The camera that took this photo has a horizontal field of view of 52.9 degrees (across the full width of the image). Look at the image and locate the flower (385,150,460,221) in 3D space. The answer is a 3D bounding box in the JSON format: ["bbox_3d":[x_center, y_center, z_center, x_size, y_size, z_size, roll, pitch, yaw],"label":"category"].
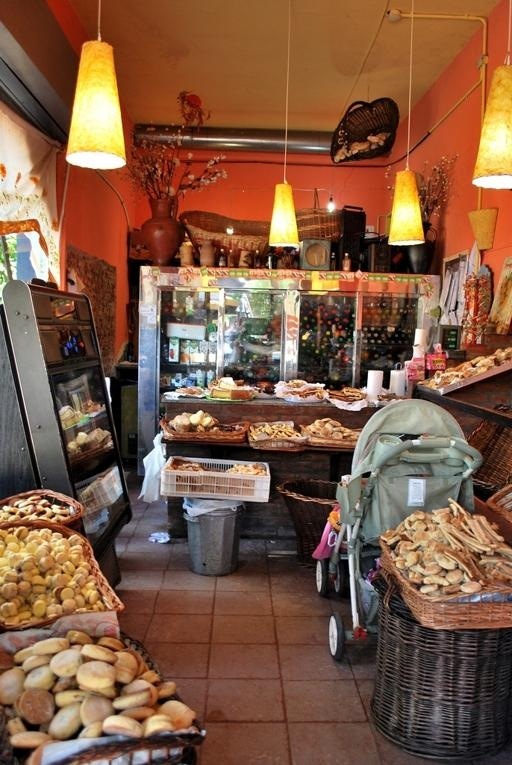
[{"bbox_3d":[1.831,-2.166,5.896,0.713,0.908,0.769,-5,13,-2],"label":"flower"}]

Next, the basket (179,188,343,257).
[{"bbox_3d":[0.033,-1.898,6.180,1.423,0.550,0.818,-2,19,-9],"label":"basket"}]

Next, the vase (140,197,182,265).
[{"bbox_3d":[-1.066,-1.711,5.839,0.459,0.771,0.366,2,1,-14],"label":"vase"}]

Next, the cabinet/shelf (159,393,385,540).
[{"bbox_3d":[0.083,0.480,4.176,1.907,1.225,0.986,1,7,4],"label":"cabinet/shelf"}]

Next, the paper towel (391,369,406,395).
[{"bbox_3d":[1.222,0.006,4.378,0.135,0.180,0.203,3,1,3],"label":"paper towel"}]

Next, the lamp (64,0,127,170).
[{"bbox_3d":[-0.687,-1.289,2.237,0.236,0.739,0.487,2,1,-20],"label":"lamp"}]

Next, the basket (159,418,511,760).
[{"bbox_3d":[0.327,0.903,2.266,1.142,0.515,1.539,0,-1,2],"label":"basket"}]
